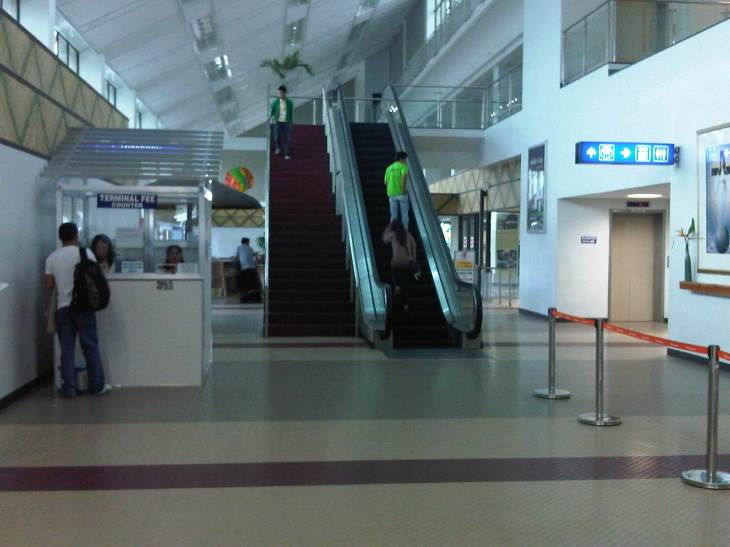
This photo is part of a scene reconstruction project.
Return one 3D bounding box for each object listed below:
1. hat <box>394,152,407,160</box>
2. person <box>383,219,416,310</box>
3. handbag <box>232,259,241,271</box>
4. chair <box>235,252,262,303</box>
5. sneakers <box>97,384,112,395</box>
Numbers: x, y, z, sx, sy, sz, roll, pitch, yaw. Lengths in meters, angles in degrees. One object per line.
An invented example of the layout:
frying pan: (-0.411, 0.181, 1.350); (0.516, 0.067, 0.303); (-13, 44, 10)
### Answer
hat: (0.665, -2.128, 11.153); (0.170, 0.213, 0.212); (-1, 2, -3)
person: (0.621, -0.170, 10.703); (0.561, 1.527, 0.986); (1, 3, 6)
handbag: (-3.684, -0.263, 17.802); (0.232, 0.447, 0.242); (2, 20, -7)
chair: (-3.074, -0.080, 16.615); (0.479, 1.505, 0.451); (-5, 4, -24)
sneakers: (-2.840, 1.281, 6.769); (0.152, 0.064, 0.053); (1, 1, 20)
